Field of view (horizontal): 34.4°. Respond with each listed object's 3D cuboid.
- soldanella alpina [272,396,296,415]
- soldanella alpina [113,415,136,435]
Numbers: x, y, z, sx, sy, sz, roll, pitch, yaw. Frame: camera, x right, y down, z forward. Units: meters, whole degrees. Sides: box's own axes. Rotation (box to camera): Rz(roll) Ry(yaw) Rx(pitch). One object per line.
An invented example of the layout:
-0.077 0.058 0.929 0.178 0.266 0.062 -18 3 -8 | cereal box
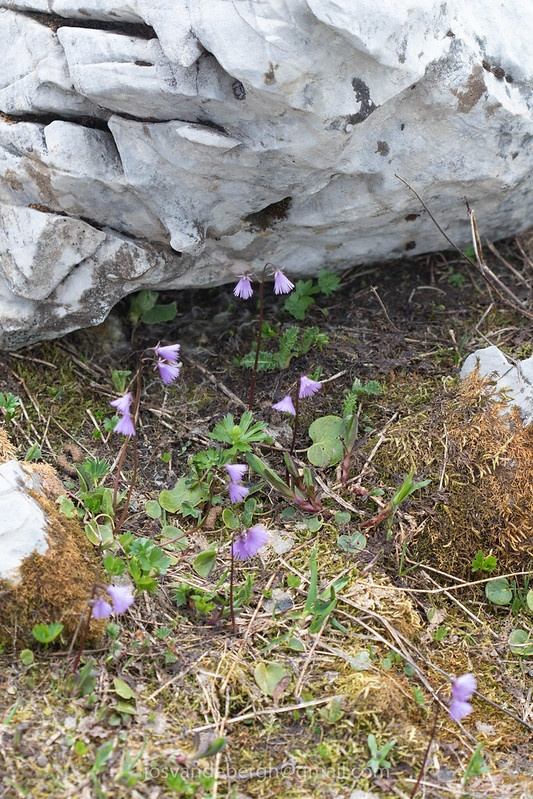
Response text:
0.065 0.023 3.120 0.052 0.050 0.053 39 44 3 | soldanella alpina
-0.452 0.081 2.752 0.060 0.082 0.075 13 69 -1 | soldanella alpina
